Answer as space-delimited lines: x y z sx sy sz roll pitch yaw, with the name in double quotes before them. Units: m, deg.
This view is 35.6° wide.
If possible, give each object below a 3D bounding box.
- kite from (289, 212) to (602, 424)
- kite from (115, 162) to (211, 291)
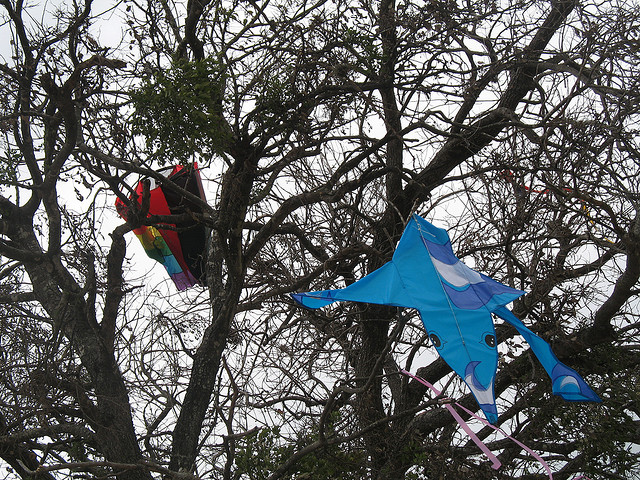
"kite" 1.479 0.755 11.193 2.763 2.608 0.151 -3 -36 -21
"kite" -2.327 0.003 15.621 1.486 1.577 1.408 -30 -20 26
